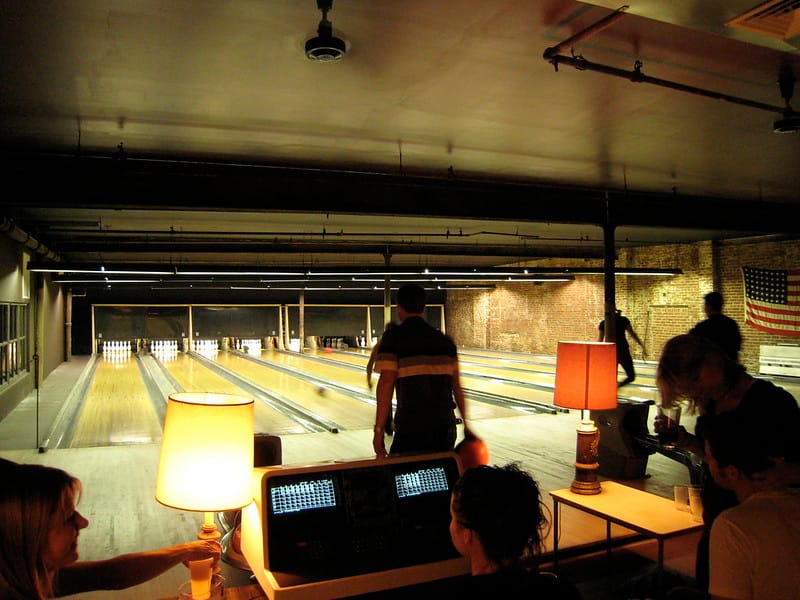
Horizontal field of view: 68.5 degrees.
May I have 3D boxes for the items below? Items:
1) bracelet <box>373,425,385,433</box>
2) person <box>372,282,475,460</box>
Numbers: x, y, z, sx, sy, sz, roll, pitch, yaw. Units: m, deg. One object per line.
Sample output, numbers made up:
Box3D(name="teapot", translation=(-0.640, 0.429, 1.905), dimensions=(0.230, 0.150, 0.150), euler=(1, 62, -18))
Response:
Box3D(name="bracelet", translation=(-0.116, 0.720, 3.267), dimensions=(0.046, 0.041, 0.039), euler=(-5, -7, 43))
Box3D(name="person", translation=(0.085, 0.368, 3.243), dimensions=(0.484, 0.923, 0.215), euler=(-2, -3, -3))
